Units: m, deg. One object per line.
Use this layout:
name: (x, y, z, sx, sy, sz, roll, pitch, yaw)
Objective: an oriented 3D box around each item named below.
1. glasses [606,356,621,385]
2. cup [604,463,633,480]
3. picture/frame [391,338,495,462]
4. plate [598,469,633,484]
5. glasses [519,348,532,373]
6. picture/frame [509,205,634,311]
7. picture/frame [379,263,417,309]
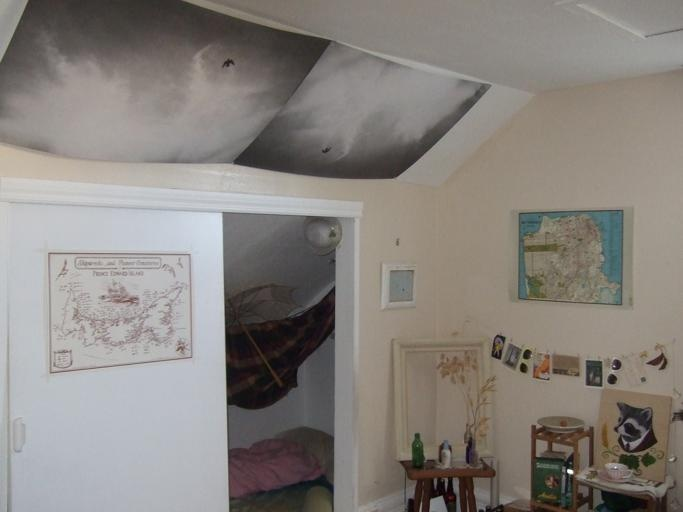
glasses: (1.795, 0.760, 3.697, 0.040, 0.158, 0.092, 7, 6, -41)
cup: (1.702, 1.332, 3.471, 0.079, 0.055, 0.112, -1, 1, -42)
picture/frame: (0.752, 1.058, 4.184, 0.847, 1.033, 0.086, 0, -2, -16)
plate: (1.680, 1.355, 3.453, 0.186, 0.059, 0.120, -3, -7, 25)
glasses: (1.333, 0.756, 4.071, 0.088, 0.172, 0.026, -6, -8, 44)
picture/frame: (1.613, 0.012, 3.858, 0.705, 0.631, 0.025, 2, 0, 40)
picture/frame: (0.443, 0.228, 4.227, 0.327, 0.337, 0.029, 1, -1, -37)
